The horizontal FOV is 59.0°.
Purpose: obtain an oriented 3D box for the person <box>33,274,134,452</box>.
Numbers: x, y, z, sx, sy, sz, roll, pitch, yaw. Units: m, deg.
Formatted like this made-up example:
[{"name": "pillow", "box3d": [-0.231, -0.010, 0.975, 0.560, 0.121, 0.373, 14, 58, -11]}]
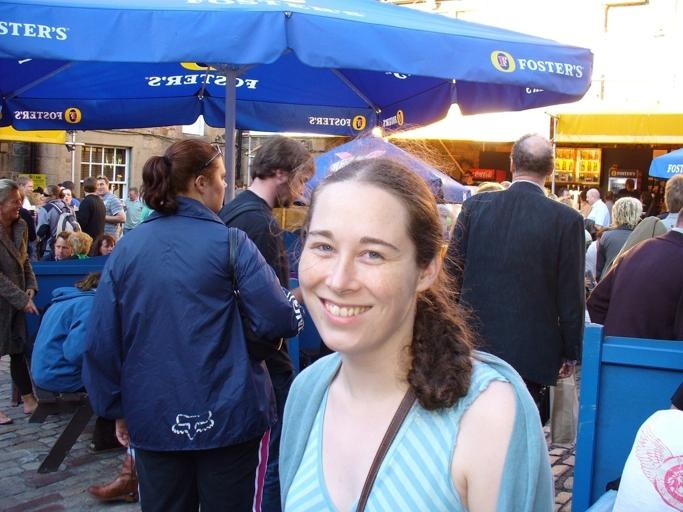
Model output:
[{"name": "person", "box3d": [-1.810, 0.800, 4.197, 0.495, 0.637, 1.475, 5, -4, -22]}]
